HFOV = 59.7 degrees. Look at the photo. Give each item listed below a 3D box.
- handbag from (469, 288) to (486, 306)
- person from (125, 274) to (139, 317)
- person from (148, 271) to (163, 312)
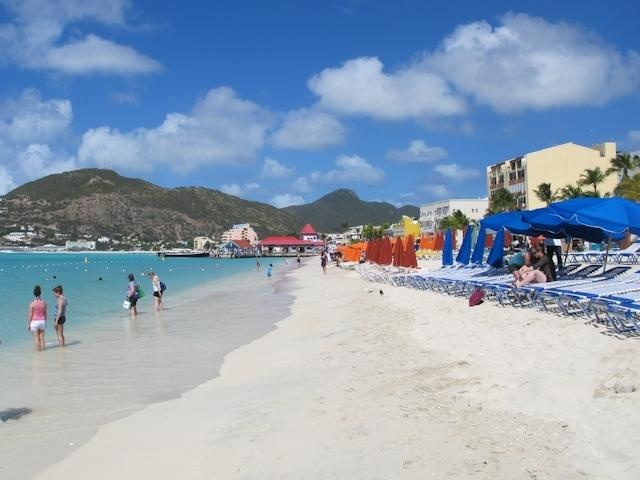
[{"bbox_3d":[4.563,1.678,16.397,0.549,0.231,0.391,-45,14,7],"label":"handbag"},{"bbox_3d":[-6.469,1.937,19.422,0.412,1.526,0.888,-7,5,-18],"label":"person"},{"bbox_3d":[-6.130,1.907,21.070,0.381,1.507,2.009,-7,4,-17],"label":"person"}]
